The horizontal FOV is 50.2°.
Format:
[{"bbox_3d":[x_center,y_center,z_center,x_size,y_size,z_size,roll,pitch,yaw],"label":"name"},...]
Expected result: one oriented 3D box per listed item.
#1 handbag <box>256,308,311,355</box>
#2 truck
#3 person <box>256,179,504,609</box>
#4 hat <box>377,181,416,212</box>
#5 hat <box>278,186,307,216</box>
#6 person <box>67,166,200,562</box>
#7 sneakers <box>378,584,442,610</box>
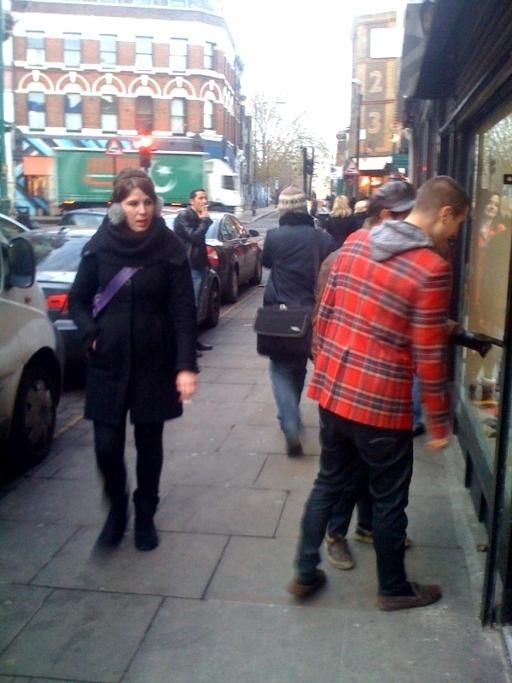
[{"bbox_3d":[0.230,-0.045,3.982,0.417,0.437,0.309,0,-5,17],"label":"handbag"},{"bbox_3d":[-5.455,-7.970,27.816,8.880,3.610,2.946,-4,24,-20],"label":"truck"},{"bbox_3d":[0.445,0.326,2.020,0.352,1.503,0.687,-2,4,-31],"label":"person"},{"bbox_3d":[0.733,-0.726,2.874,0.198,0.121,0.163,-5,46,13],"label":"hat"},{"bbox_3d":[0.253,-1.024,3.970,0.160,0.144,0.229,-2,23,7],"label":"hat"},{"bbox_3d":[-0.579,0.118,2.594,0.593,1.833,0.335,-1,3,-8],"label":"person"},{"bbox_3d":[0.613,1.007,2.177,0.219,0.093,0.106,-7,-3,-15],"label":"sneakers"}]
